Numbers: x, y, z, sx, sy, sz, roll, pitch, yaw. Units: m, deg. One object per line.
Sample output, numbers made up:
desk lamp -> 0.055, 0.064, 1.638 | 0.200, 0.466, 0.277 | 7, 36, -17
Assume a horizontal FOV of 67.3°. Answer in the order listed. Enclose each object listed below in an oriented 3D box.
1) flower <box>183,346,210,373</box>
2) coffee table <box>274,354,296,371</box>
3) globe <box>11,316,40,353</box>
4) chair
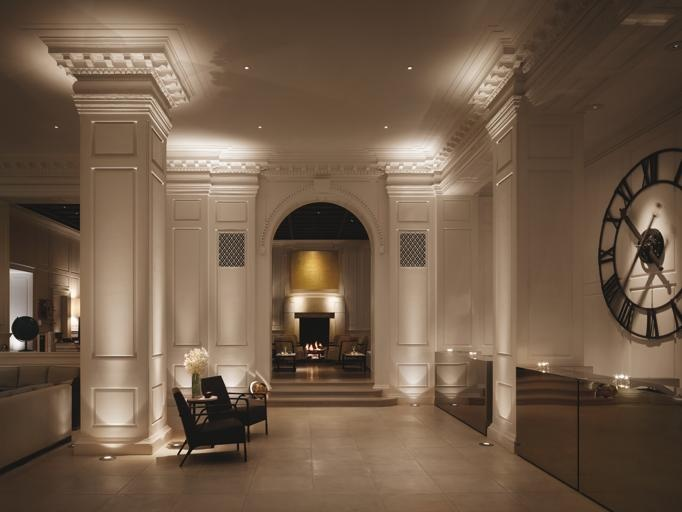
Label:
flower -> -2.253, 1.644, 7.970 | 0.304, 0.349, 0.381 | 1, -2, -28
coffee table -> -1.524, 2.927, 14.224 | 0.582, 0.460, 0.509 | 0, -9, 1
globe -> -6.964, 1.598, 11.307 | 0.466, 0.509, 0.394 | 1, -2, -21
chair -> -1.719, 2.280, 7.463 | 1.130, 1.004, 1.737 | 0, -2, -4
